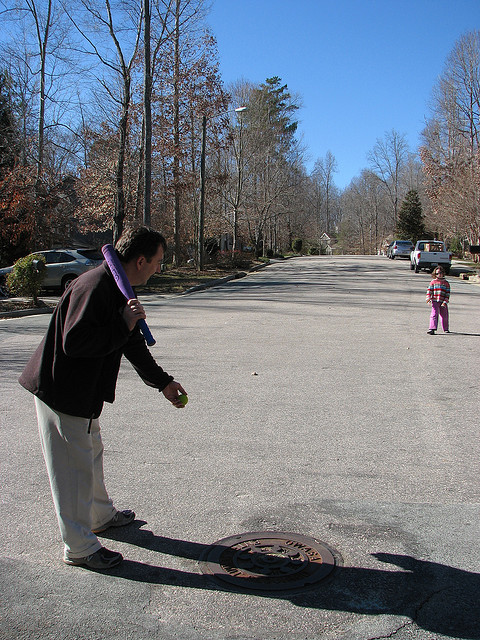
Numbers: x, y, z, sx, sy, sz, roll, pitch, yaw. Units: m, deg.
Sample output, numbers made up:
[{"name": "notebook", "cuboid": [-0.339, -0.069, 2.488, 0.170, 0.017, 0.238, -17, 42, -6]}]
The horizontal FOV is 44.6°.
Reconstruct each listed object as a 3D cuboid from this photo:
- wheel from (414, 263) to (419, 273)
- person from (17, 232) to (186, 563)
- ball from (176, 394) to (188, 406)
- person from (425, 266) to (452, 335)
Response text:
[{"name": "wheel", "cuboid": [10.160, -2.840, 33.376, 0.088, 0.388, 0.367, 0, 3, -14]}, {"name": "person", "cuboid": [-0.706, 0.371, 3.082, 0.754, 1.628, 1.177, 1, 5, 9]}, {"name": "ball", "cuboid": [-0.289, 0.407, 2.953, 0.058, 0.074, 0.058, 1, -9, 0]}, {"name": "person", "cuboid": [4.100, -0.416, 11.936, 0.486, 1.328, 1.575, 2, 6, 20]}]
